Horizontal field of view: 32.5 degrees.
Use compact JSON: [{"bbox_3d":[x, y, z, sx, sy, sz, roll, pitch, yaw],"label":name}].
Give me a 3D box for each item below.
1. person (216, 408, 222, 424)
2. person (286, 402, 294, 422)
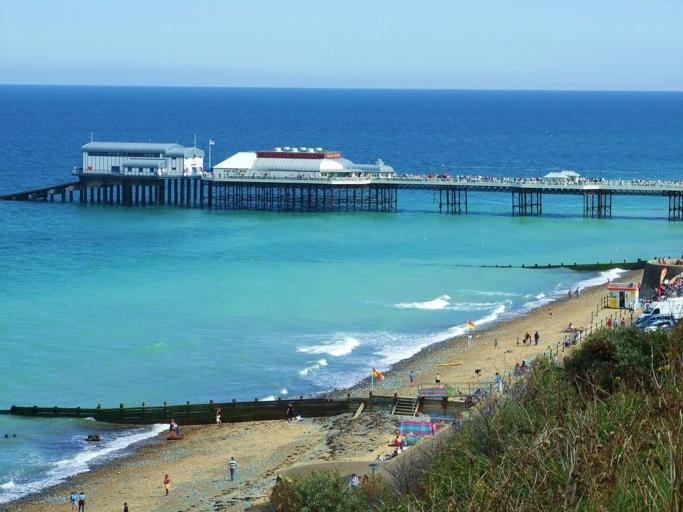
[{"bbox_3d":[-6.586,8.687,63.102,0.358,0.798,0.289,-4,2,-7],"label":"person"},{"bbox_3d":[-2.690,8.367,62.754,0.421,0.838,0.311,-4,2,-1],"label":"person"}]
